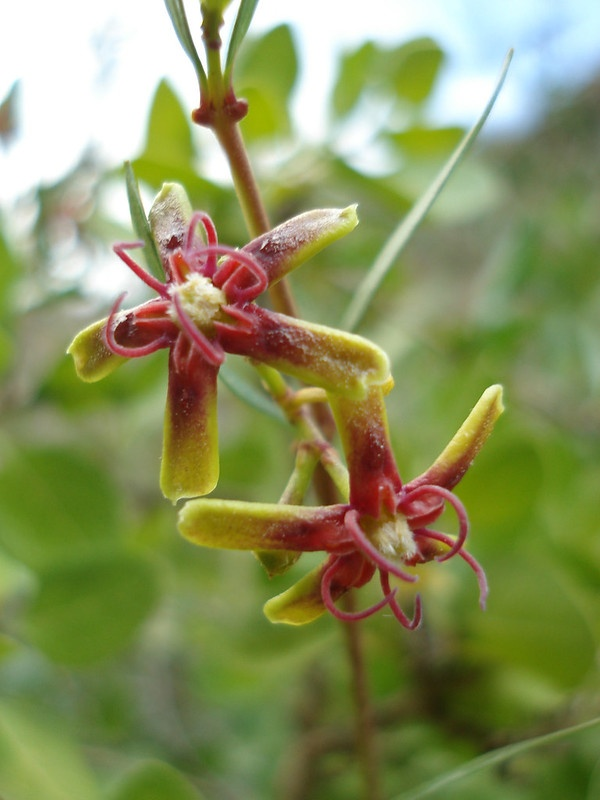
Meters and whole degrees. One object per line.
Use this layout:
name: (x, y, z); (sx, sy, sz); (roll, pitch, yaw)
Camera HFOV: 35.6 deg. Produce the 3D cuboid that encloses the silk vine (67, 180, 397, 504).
silk vine: (0.022, -0.046, 0.751); (0.269, 0.214, 0.083); (15, 5, 19)
